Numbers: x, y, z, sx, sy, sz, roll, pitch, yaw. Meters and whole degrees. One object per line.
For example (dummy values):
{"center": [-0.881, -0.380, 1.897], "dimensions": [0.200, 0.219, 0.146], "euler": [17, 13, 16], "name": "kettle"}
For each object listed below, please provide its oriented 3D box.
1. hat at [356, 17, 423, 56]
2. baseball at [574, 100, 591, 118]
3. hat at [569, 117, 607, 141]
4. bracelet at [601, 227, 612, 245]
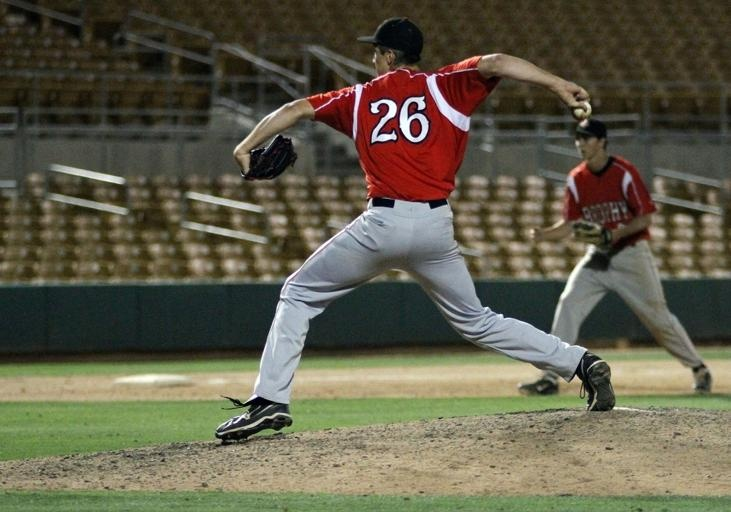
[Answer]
{"center": [0.358, -2.380, 16.475], "dimensions": [0.611, 0.401, 0.792], "euler": [7, 12, -4], "name": "hat"}
{"center": [2.317, -1.544, 16.162], "dimensions": [0.232, 0.188, 0.163], "euler": [-1, -3, -6], "name": "baseball"}
{"center": [2.651, -1.486, 17.771], "dimensions": [0.312, 0.176, 0.379], "euler": [0, 10, 7], "name": "hat"}
{"center": [2.803, -0.229, 17.557], "dimensions": [0.148, 0.160, 0.153], "euler": [-6, -33, 6], "name": "bracelet"}
